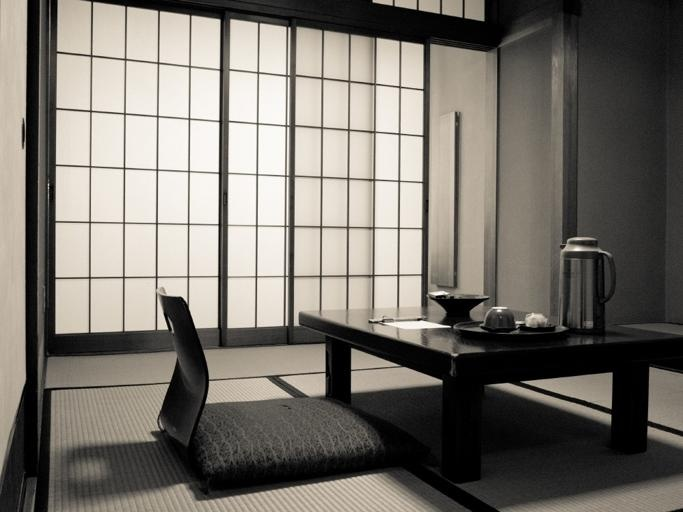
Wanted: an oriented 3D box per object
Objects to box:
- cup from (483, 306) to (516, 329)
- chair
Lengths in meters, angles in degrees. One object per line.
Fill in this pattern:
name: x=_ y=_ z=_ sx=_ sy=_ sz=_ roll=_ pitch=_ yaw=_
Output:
cup: x=0.674 y=0.255 z=2.389 sx=0.097 sy=0.066 sz=0.101 roll=0 pitch=-4 yaw=0
chair: x=-0.322 y=0.562 z=2.625 sx=1.191 sy=0.711 sz=1.336 roll=-2 pitch=-4 yaw=23
